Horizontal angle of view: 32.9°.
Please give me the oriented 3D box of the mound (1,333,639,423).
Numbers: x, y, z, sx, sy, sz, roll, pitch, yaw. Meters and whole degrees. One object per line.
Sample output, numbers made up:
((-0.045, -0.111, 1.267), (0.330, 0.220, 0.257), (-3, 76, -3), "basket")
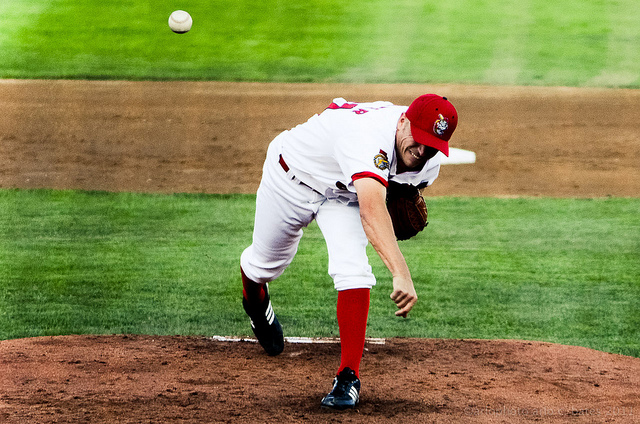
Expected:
((-0.157, 2.235, 14.610), (8.250, 0.630, 1.569), (-1, 21, -1), "mound")

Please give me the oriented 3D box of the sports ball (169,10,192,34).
((-3.108, -4.274, 24.196), (0.496, 0.474, 0.475), (6, 34, -4), "sports ball")

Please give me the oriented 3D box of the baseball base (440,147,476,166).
((2.595, -1.017, 20.384), (0.637, 0.280, 0.514), (3, 21, 9), "baseball base")
